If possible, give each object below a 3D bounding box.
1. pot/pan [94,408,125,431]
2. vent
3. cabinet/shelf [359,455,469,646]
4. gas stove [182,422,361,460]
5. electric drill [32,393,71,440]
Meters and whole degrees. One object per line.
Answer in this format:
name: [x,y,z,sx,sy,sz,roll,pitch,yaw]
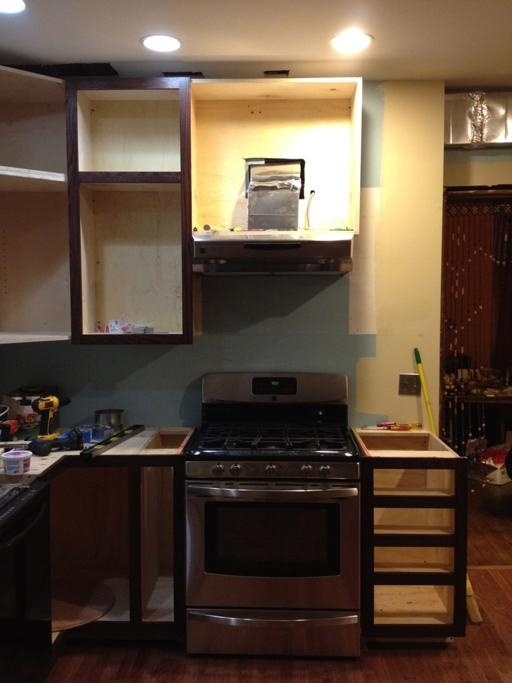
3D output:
pot/pan: [-0.670,0.344,2.707,0.089,0.099,0.098,1,3,-10]
vent: [0.059,-0.513,2.491,0.636,0.477,0.381,0,8,-5]
cabinet/shelf: [0.675,0.802,2.521,0.432,0.759,0.589,3,8,18]
gas stove: [0.063,0.410,2.519,0.670,0.046,0.468,1,9,2]
electric drill: [-0.926,0.345,2.653,0.080,0.227,0.258,2,4,2]
